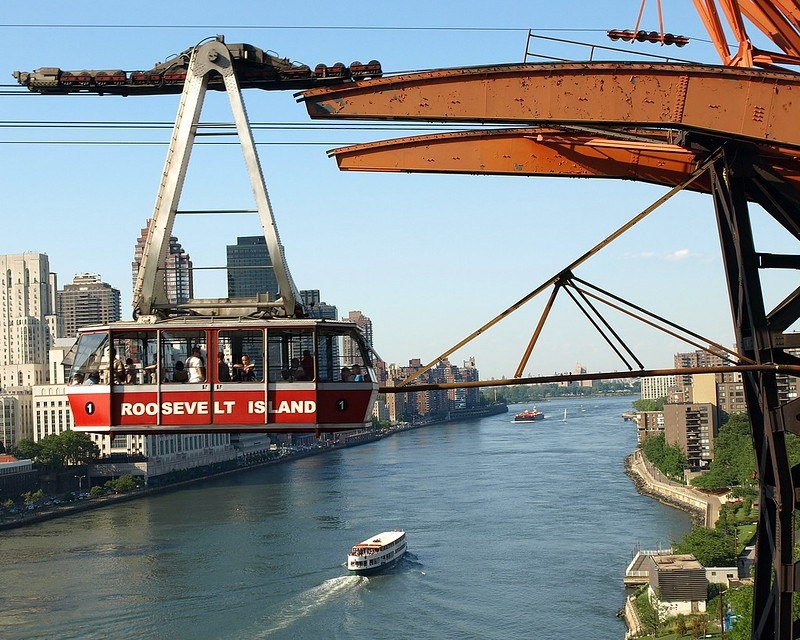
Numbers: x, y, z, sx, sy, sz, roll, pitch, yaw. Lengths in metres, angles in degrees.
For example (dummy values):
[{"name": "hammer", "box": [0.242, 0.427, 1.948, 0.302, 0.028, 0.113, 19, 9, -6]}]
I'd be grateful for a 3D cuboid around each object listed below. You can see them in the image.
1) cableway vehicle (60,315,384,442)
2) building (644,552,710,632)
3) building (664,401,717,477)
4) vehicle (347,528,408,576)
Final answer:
[{"name": "cableway vehicle", "box": [-3.888, 1.353, 29.664, 6.966, 2.390, 2.206, -1, -1, 9]}, {"name": "building", "box": [10.404, 9.991, 47.989, 1.660, 1.787, 2.646, 0, -3, 3]}, {"name": "building", "box": [19.669, 8.005, 86.125, 4.498, 6.267, 3.347, 0, -6, 2]}, {"name": "vehicle", "box": [-0.714, 9.901, 55.157, 1.095, 0.880, 3.054, -2, -1, 22]}]
